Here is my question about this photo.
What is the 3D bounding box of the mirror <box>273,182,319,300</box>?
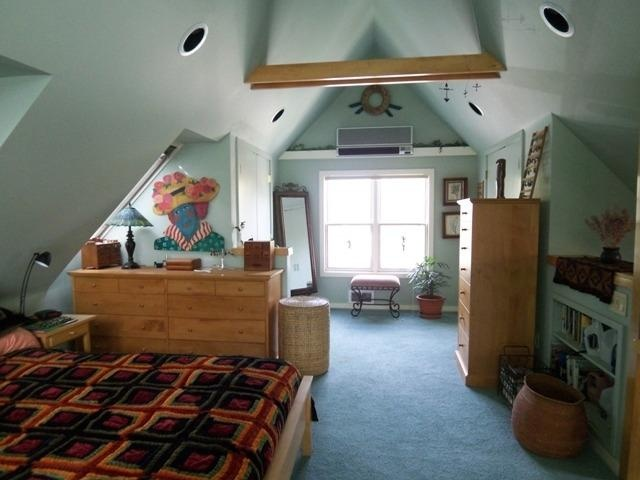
[{"bbox_3d":[-0.363,-0.026,7.010,0.614,1.643,0.689,-7,15,-26],"label":"mirror"}]

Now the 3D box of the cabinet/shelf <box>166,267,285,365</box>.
[{"bbox_3d":[-0.868,0.633,4.961,1.341,1.287,0.762,0,1,6],"label":"cabinet/shelf"}]

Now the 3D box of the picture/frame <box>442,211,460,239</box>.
[{"bbox_3d":[1.942,-0.240,6.827,0.418,0.502,0.040,1,0,10],"label":"picture/frame"}]

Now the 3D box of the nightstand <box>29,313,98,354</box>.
[{"bbox_3d":[-2.281,0.799,4.148,0.337,0.424,0.442,2,7,6],"label":"nightstand"}]

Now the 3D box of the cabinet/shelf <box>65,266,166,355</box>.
[{"bbox_3d":[-2.036,0.732,4.669,0.876,0.832,0.348,-1,1,5],"label":"cabinet/shelf"}]

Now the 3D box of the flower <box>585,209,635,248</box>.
[{"bbox_3d":[2.521,-0.079,3.986,0.383,0.434,0.386,0,2,5],"label":"flower"}]

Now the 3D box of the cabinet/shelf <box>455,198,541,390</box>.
[{"bbox_3d":[1.721,0.506,4.401,0.657,1.776,0.392,-1,13,-5],"label":"cabinet/shelf"}]

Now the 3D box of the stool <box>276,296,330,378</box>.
[{"bbox_3d":[-0.100,0.983,4.917,0.672,0.768,0.653,0,3,-1],"label":"stool"}]

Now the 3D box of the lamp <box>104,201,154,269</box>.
[{"bbox_3d":[-2.035,-0.053,4.985,0.443,0.654,0.446,1,3,13],"label":"lamp"}]

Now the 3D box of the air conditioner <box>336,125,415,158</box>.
[{"bbox_3d":[0.801,-1.471,6.836,1.076,0.425,0.150,0,13,1],"label":"air conditioner"}]

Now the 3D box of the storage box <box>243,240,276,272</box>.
[{"bbox_3d":[-0.645,0.163,5.028,0.326,0.304,0.254,1,2,9],"label":"storage box"}]

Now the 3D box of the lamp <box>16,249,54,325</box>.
[{"bbox_3d":[-2.608,0.417,4.218,0.316,0.890,0.210,-1,33,-35],"label":"lamp"}]

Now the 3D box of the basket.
[{"bbox_3d":[1.871,1.177,4.236,0.264,0.390,0.459,36,-36,-12],"label":"basket"}]

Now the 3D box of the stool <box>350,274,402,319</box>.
[{"bbox_3d":[0.790,0.794,6.646,0.693,0.487,0.430,-1,1,2],"label":"stool"}]

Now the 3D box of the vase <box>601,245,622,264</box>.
[{"bbox_3d":[2.397,0.108,3.810,0.142,0.126,0.144,8,12,38],"label":"vase"}]
